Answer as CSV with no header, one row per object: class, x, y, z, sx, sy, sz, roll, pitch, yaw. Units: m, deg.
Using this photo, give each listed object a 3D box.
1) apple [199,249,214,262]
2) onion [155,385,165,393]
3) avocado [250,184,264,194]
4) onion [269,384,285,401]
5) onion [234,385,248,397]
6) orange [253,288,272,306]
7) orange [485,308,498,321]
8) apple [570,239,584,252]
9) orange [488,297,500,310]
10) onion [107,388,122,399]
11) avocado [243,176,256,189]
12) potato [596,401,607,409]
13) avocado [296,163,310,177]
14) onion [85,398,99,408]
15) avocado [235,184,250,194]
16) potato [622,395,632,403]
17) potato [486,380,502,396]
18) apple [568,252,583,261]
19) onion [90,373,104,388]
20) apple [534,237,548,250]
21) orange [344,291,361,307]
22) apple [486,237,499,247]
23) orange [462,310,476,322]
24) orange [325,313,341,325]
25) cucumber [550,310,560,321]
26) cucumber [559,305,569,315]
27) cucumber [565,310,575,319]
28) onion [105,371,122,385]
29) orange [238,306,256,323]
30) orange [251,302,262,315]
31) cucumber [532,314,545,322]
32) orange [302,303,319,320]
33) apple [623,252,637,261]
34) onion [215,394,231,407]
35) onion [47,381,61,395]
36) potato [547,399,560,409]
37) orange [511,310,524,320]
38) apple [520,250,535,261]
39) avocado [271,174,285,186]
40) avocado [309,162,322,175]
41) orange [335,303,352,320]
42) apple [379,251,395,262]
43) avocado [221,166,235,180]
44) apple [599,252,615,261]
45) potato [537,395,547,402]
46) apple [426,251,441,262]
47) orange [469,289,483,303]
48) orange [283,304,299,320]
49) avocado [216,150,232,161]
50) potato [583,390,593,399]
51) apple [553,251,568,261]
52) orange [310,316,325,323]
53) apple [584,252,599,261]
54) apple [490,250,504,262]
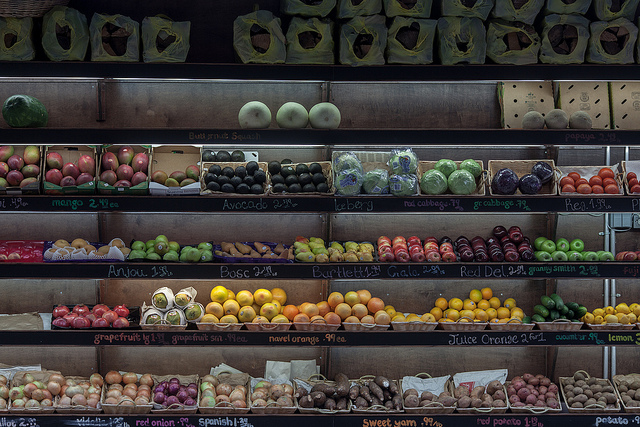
apple,-1.140,0.423,7.291,0.117,0.108,0.094,5,2,10
onion,-1.606,1.753,7.247,0.092,0.074,0.070,0,-13,-4
avocado,-0.630,-0.250,7.230,0.131,0.096,0.038,0,-13,-5
onion,-0.439,1.800,7.289,0.113,0.145,0.070,28,-27,8
onion,-0.803,1.805,7.374,0.132,0.120,0.149,-2,-13,2
orange,-0.585,0.867,7.490,0.193,0.175,0.132,1,-13,-9
orange,1.787,1.040,7.504,0.131,0.135,0.092,2,-14,-15
apple,2.669,0.330,7.492,0.145,0.149,0.127,-4,-13,11
orange,1.847,0.934,7.617,0.098,0.122,0.101,3,-13,-21
onion,-2.048,1.788,7.228,0.139,0.092,0.097,3,-14,-18
avocado,-0.704,-0.321,7.276,0.103,0.107,0.100,0,-10,-6
potato,2.841,1.917,7.268,0.062,0.036,0.064,-1,-34,15
avocado,-0.178,-0.449,7.283,0.104,0.092,0.124,-1,3,-1
onion,-2.258,1.871,7.157,0.109,0.091,0.034,1,-13,-9
avocado,-0.767,-0.256,7.253,0.095,0.098,0.053,-35,2,3
potato,3.096,1.860,7.279,0.086,0.073,0.054,4,-14,-23
potato,1.775,1.768,7.402,0.129,0.115,0.149,31,-56,-16
apple,2.604,0.435,7.346,0.098,0.090,0.083,-3,-7,24
onion,-2.276,1.679,7.384,0.115,0.144,0.121,3,-45,-34
apple,2.319,0.311,7.586,0.107,0.114,0.132,5,-2,-18
orange,0.348,0.898,7.515,0.140,0.171,0.141,26,-30,-32
apple,1.803,0.292,7.533,0.133,0.110,0.081,2,-14,-16
orange,1.541,1.053,7.479,0.087,0.051,0.089,-3,4,-43
orange,0.129,1.057,7.361,0.131,0.114,0.111,-2,-26,-42
cucumber,2.415,1.045,7.436,0.064,0.071,0.090,11,-5,-7
cucumber,2.511,0.985,7.448,0.083,0.066,0.062,-28,21,-21
cucumber,2.571,1.036,7.438,0.076,0.081,0.080,0,18,0
onion,-2.108,1.673,7.369,0.133,0.137,0.074,28,-4,-15
orange,-0.732,1.013,7.307,0.143,0.144,0.147,25,40,15
orange,-0.646,0.975,7.446,0.081,0.086,0.100,4,27,-11
cucumber,2.251,1.070,7.423,0.122,0.087,0.113,-4,-14,12
orange,-0.084,0.979,7.408,0.131,0.138,0.134,24,9,12
apple,3.144,0.424,7.331,0.085,0.050,0.088,-2,1,-15
onion,-0.975,1.859,7.229,0.102,0.059,0.104,-4,24,-31
onion,-2.647,1.734,7.201,0.111,0.123,0.139,6,-49,-25
potato,2.341,1.901,7.241,0.125,0.085,0.031,4,-14,-23
orange,2.041,1.027,7.450,0.085,0.091,0.088,10,3,-14
apple,2.116,0.416,7.328,0.094,0.105,0.118,10,0,5
avocado,-0.430,-0.342,7.278,0.095,0.054,0.096,15,25,35
avocado,-0.044,-0.463,7.324,0.083,0.140,0.069,-1,-6,5
orange,0.245,0.997,7.393,0.174,0.158,0.069,-1,-13,1
apple,0.684,0.438,7.321,0.108,0.107,0.107,10,-3,-32
avocado,-0.926,-0.421,7.286,0.110,0.115,0.136,14,30,-17
apple,2.949,0.438,7.378,0.226,0.093,0.088,7,-16,-33
potato,2.238,1.850,7.271,0.091,0.056,0.033,-3,-13,7
apple,1.155,0.433,7.368,0.095,0.094,0.100,-2,8,10
orange,1.662,0.867,7.666,0.117,0.144,0.121,4,-11,-21
orange,-0.294,1.012,7.427,0.161,0.147,0.090,-1,-13,-3
avocado,-0.982,-0.603,7.483,0.148,0.108,0.042,1,-13,-9
potato,2.735,1.833,7.336,0.075,0.080,0.043,5,-33,-2
apple,2.458,0.432,7.369,0.151,0.092,0.047,1,-13,-11
orange,-0.025,1.070,7.333,0.145,0.070,0.076,-1,-13,-1
apple,2.774,0.435,7.368,0.146,0.077,0.042,1,-13,-8
apple,1.803,0.429,7.349,0.141,0.131,0.081,-4,-13,10
